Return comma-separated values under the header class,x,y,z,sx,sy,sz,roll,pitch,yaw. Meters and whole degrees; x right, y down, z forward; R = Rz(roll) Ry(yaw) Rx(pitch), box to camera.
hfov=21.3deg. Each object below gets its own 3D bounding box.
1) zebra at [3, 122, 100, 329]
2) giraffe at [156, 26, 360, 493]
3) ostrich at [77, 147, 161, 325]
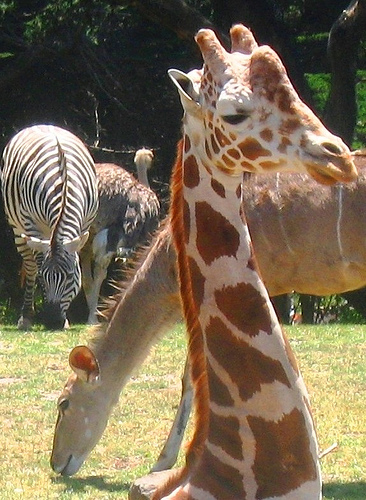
class,x,y,z,sx,sy,sz,roll,pitch,yaw
zebra,-1.535,-0.204,10.586,1.094,2.202,3.127,-1,8,-4
giraffe,0.243,0.068,3.705,0.686,1.813,0.366,1,8,9
ostrich,-0.828,-0.374,12.197,0.990,2.525,1.233,0,12,-21
